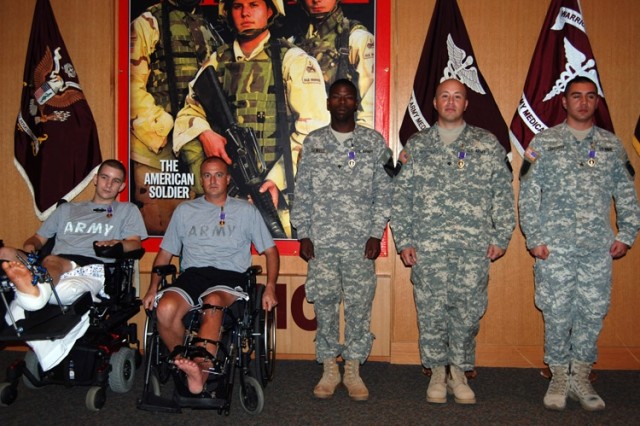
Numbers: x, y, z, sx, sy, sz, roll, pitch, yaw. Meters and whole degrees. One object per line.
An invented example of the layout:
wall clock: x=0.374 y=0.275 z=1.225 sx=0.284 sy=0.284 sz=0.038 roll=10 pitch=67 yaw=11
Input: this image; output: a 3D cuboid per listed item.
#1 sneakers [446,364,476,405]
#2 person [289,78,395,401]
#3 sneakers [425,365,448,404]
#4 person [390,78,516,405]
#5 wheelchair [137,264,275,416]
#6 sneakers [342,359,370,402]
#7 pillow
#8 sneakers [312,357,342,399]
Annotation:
sneakers: x=1.189 y=1.479 z=5.163 sx=0.140 sy=0.165 sz=0.381 roll=-3 pitch=4 yaw=-5
person: x=0.168 y=0.207 z=5.178 sx=0.872 sy=2.660 sz=0.771 roll=1 pitch=13 yaw=5
sneakers: x=0.988 y=1.458 z=5.106 sx=0.173 sy=0.276 sz=0.181 roll=2 pitch=13 yaw=9
person: x=1.098 y=0.358 z=5.221 sx=0.893 sy=2.355 sz=0.869 roll=12 pitch=18 yaw=43
wheelchair: x=-0.867 y=1.195 z=5.259 sx=0.966 sy=1.614 sz=1.278 roll=-1 pitch=-17 yaw=7
sneakers: x=0.298 y=1.427 z=5.189 sx=0.166 sy=0.288 sz=0.317 roll=-7 pitch=15 yaw=-25
pillow: x=-2.086 y=0.686 z=4.899 sx=0.306 sy=0.159 sz=0.550 roll=-9 pitch=5 yaw=36
sneakers: x=0.057 y=1.414 z=5.222 sx=0.203 sy=0.292 sz=0.312 roll=3 pitch=14 yaw=11
